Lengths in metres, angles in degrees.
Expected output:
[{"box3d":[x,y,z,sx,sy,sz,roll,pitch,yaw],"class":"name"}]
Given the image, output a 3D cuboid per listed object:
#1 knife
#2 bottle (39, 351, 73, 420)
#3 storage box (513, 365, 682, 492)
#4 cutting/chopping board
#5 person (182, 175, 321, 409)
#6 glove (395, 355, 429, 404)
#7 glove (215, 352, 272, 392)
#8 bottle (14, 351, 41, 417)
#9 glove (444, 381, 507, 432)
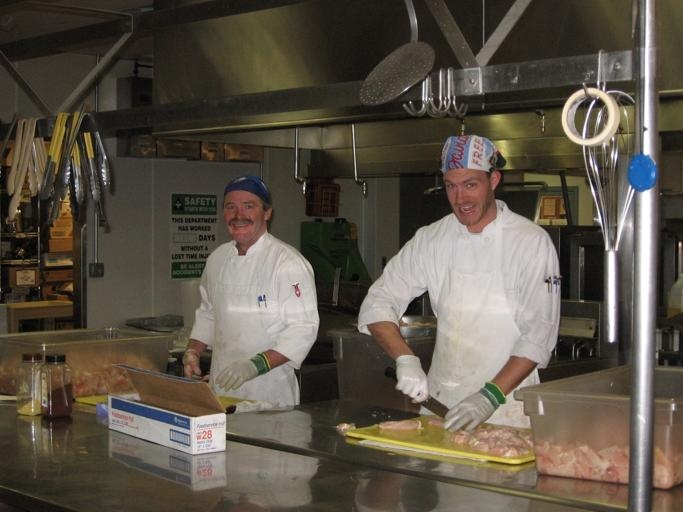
[{"box3d":[0.308,0.490,2.318,0.385,0.079,0.059,38,39,-1],"class":"knife"},{"box3d":[-1.001,0.452,2.377,0.101,0.216,0.147,-2,3,-25],"class":"bottle"},{"box3d":[0.738,0.399,1.811,0.317,0.187,0.448,-5,-7,41],"class":"storage box"},{"box3d":[0.287,0.533,2.046,0.609,0.042,0.323,1,3,26],"class":"cutting/chopping board"},{"box3d":[-0.380,0.155,2.839,0.555,0.998,0.874,-2,3,-28],"class":"person"},{"box3d":[0.227,0.392,2.239,0.087,0.049,0.158,-7,32,-2],"class":"glove"},{"box3d":[-0.376,0.466,2.662,0.097,0.088,0.275,23,29,31],"class":"glove"},{"box3d":[-1.108,0.453,2.396,0.152,0.217,0.067,1,3,26],"class":"bottle"},{"box3d":[0.401,0.467,2.035,0.100,0.058,0.203,24,48,37],"class":"glove"}]
